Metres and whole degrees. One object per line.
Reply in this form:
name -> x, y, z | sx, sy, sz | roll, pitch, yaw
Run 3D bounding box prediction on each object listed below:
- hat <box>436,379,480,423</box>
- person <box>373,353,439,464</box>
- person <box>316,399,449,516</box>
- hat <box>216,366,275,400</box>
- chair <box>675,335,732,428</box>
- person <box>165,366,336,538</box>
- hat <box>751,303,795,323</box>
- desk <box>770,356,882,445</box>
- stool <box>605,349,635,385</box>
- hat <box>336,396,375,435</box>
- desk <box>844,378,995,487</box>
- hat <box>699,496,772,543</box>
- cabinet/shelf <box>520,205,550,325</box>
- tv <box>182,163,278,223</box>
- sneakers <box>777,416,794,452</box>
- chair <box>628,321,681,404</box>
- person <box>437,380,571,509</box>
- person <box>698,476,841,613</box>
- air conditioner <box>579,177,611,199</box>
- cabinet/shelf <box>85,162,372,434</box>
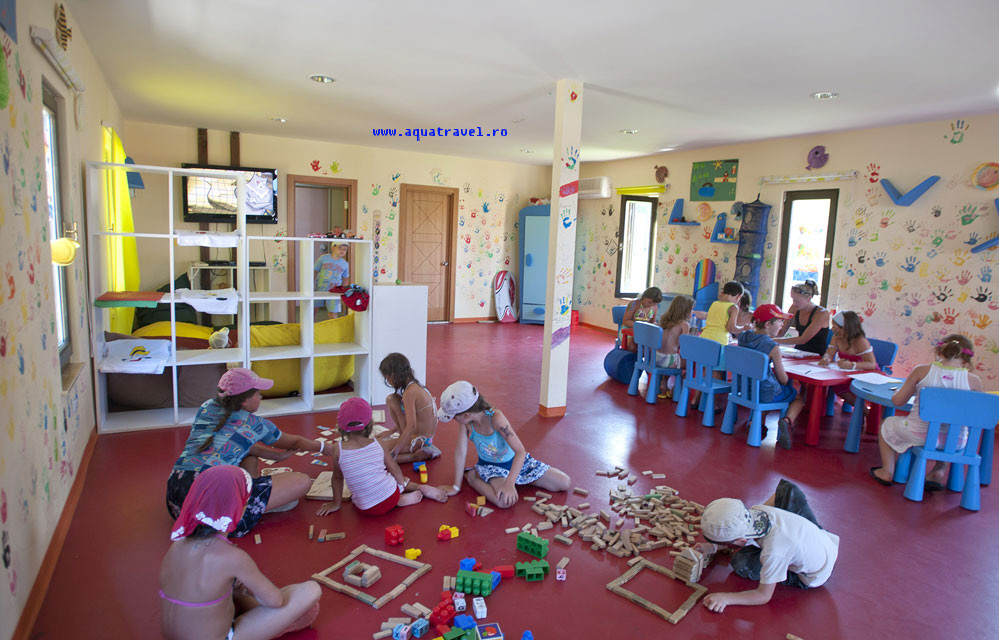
hat -> -0.312, 0.613, 5.207 | 0.440, 0.214, 0.314 | -19, 9, 31
person -> -0.861, 0.757, 5.850 | 0.623, 0.885, 0.737 | -5, 5, -31
person -> -0.943, 1.061, 5.305 | 1.146, 0.882, 0.563 | -3, 1, -41
hat -> -1.885, 0.476, 4.931 | 0.335, 0.162, 0.212 | -5, 14, -37
chair -> 2.267, 0.623, 7.070 | 0.522, 0.849, 0.513 | -2, 8, -31
person -> -1.892, 1.014, 5.184 | 0.821, 1.183, 1.400 | 1, 1, 36
hat -> 3.046, -0.075, 7.319 | 0.406, 0.156, 0.258 | -10, 11, -26
desk -> 3.208, 0.728, 6.658 | 0.850, 0.638, 0.855 | -4, 13, -13
stool -> 1.483, 0.538, 8.202 | 0.401, 0.378, 0.461 | 20, 2, -5
hat -> -1.066, 0.722, 4.870 | 0.204, 0.170, 0.285 | -5, 38, -7
desk -> 3.727, 0.867, 6.227 | 1.095, 0.671, 1.086 | 0, 4, 1
hat -> 1.574, 1.311, 4.395 | 0.417, 0.208, 0.277 | -14, 24, -11
cabinet/shelf -> 0.623, -1.020, 12.011 | 0.472, 2.164, 0.592 | 1, 12, -5
tv -> -4.012, -1.880, 9.873 | 1.373, 0.933, 0.108 | -5, 44, -32
sneakers -> 2.788, 1.092, 6.419 | 0.132, 0.265, 0.199 | 7, 13, 19
chair -> 1.851, 0.471, 7.682 | 0.620, 0.826, 0.588 | -1, 9, -38
person -> -0.026, 0.964, 5.349 | 1.082, 1.036, 0.653 | -12, 10, -1
person -> 1.849, 1.489, 4.647 | 1.008, 0.635, 0.872 | -15, 35, 8
air conditioner -> 1.667, -2.302, 11.499 | 0.287, 0.355, 0.615 | -9, 16, -43
cabinet/shelf -> -2.952, -0.495, 6.891 | 2.419, 2.252, 0.746 | 6, 24, 17
